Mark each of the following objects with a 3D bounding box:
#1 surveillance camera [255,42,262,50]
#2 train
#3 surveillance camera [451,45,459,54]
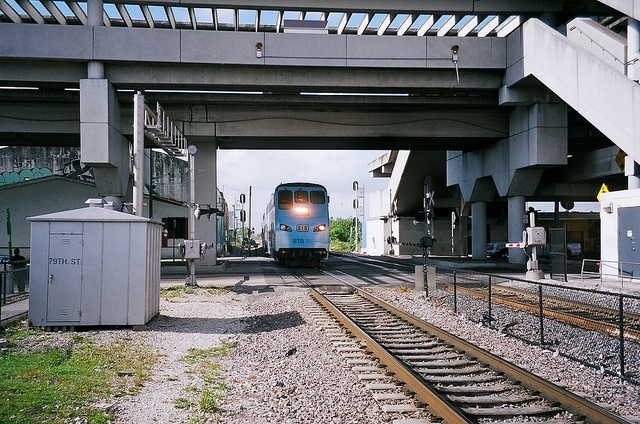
[{"bbox_3d":[-3.143,-8.464,31.345,0.328,0.316,0.104,-2,11,-7],"label":"surveillance camera"},{"bbox_3d":[-1.212,0.568,36.770,3.170,4.386,1.659,0,11,4],"label":"train"},{"bbox_3d":[7.115,-8.474,32.112,0.429,0.453,0.165,-3,12,-13],"label":"surveillance camera"}]
